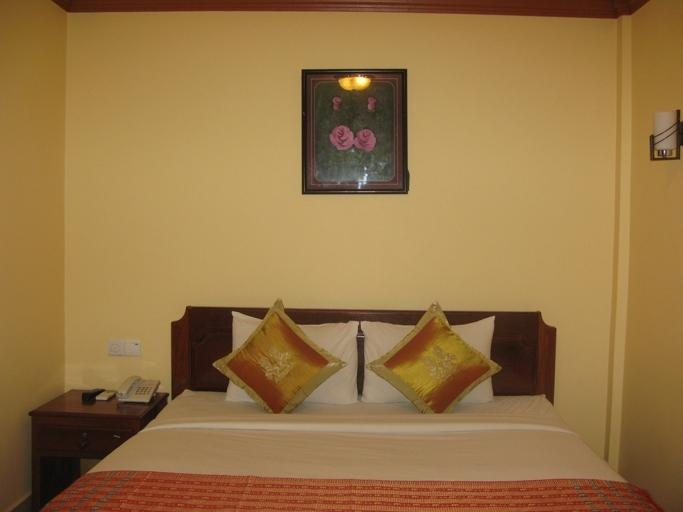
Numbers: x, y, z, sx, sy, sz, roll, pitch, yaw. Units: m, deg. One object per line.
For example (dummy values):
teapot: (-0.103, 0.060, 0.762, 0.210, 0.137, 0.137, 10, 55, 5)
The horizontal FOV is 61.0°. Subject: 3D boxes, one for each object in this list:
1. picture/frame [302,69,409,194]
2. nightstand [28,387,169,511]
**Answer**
picture/frame: (0.127, -0.918, 4.089, 0.768, 0.951, 0.044, 0, 2, 2)
nightstand: (-1.576, 1.153, 4.081, 0.877, 1.005, 0.710, 0, 5, 1)
